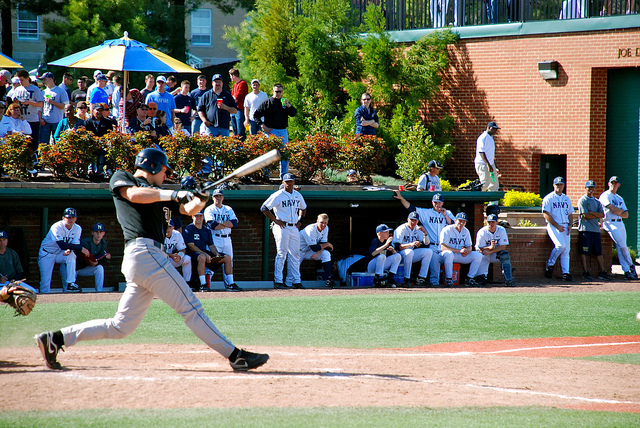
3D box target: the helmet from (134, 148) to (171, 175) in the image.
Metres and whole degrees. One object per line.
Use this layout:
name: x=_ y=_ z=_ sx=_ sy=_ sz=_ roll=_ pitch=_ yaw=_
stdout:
helmet: x=-3.481 y=-1.043 z=27.197 sx=0.664 sy=0.471 sz=0.458 roll=30 pitch=-14 yaw=-20

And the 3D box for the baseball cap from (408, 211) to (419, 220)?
baseball cap: x=2.488 y=0.015 z=34.495 sx=0.287 sy=0.220 sz=0.260 roll=1 pitch=-2 yaw=-13

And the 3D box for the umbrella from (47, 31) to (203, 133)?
umbrella: x=-5.185 y=-3.397 z=33.798 sx=2.583 sy=1.859 sz=2.600 roll=3 pitch=6 yaw=27

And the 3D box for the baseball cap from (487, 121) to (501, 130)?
baseball cap: x=4.931 y=-2.508 z=36.962 sx=0.365 sy=0.179 sz=0.223 roll=1 pitch=13 yaw=-6

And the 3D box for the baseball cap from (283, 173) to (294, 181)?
baseball cap: x=-0.809 y=-0.972 z=33.821 sx=0.264 sy=0.212 sz=0.335 roll=0 pitch=-2 yaw=-7

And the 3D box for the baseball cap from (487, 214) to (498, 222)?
baseball cap: x=4.568 y=0.083 z=34.646 sx=0.247 sy=0.182 sz=0.272 roll=0 pitch=-2 yaw=10

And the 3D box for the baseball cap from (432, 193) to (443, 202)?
baseball cap: x=3.158 y=-0.455 z=34.934 sx=0.251 sy=0.208 sz=0.328 roll=0 pitch=-2 yaw=4

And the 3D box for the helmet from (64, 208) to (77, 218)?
helmet: x=-6.293 y=-0.048 z=33.007 sx=0.281 sy=0.245 sz=0.322 roll=1 pitch=-2 yaw=-11

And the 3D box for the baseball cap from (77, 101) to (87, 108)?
baseball cap: x=-6.290 y=-2.897 z=34.688 sx=0.246 sy=0.162 sz=0.237 roll=1 pitch=-2 yaw=-11

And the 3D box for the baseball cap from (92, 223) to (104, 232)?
baseball cap: x=-5.654 y=0.319 z=33.427 sx=0.222 sy=0.170 sz=0.300 roll=5 pitch=-2 yaw=-15

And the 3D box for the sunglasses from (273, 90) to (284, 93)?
sunglasses: x=-1.085 y=-3.265 z=34.874 sx=0.228 sy=0.069 sz=0.122 roll=2 pitch=-2 yaw=-39

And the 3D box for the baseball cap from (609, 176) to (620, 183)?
baseball cap: x=8.301 y=-0.978 z=36.861 sx=0.217 sy=0.183 sz=0.354 roll=3 pitch=-21 yaw=26

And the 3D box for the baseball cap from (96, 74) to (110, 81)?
baseball cap: x=-5.930 y=-3.741 z=35.822 sx=0.178 sy=0.079 sz=0.255 roll=9 pitch=13 yaw=28

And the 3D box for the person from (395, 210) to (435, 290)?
person: x=2.562 y=0.905 z=34.624 sx=0.685 sy=1.992 sz=1.212 roll=-1 pitch=-2 yaw=37
